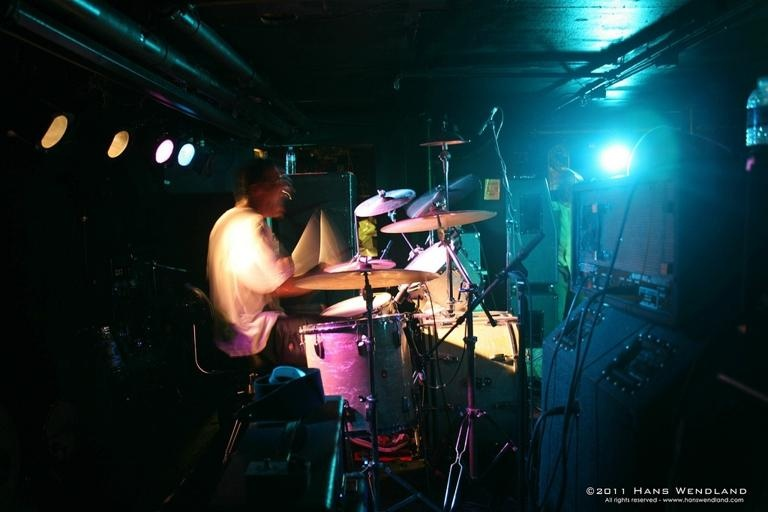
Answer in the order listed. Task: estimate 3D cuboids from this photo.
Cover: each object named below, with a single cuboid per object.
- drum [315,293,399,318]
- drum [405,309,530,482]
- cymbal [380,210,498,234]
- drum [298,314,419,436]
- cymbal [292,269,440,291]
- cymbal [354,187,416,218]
[{"bbox_3d":[-0.225,0.439,5.414,0.556,0.231,0.376,4,0,7],"label":"drum"},{"bbox_3d":[0.687,1.162,6.226,1.073,2.065,2.029,-2,2,-1],"label":"drum"},{"bbox_3d":[0.506,-0.307,5.452,0.462,0.111,0.474,-9,6,42],"label":"cymbal"},{"bbox_3d":[-0.273,1.061,5.696,0.970,0.961,0.982,-6,-4,-9],"label":"drum"},{"bbox_3d":[-0.152,0.176,4.671,0.436,0.094,0.443,-9,4,-40],"label":"cymbal"},{"bbox_3d":[-0.028,-0.446,5.893,0.381,0.106,0.393,4,39,40],"label":"cymbal"}]
